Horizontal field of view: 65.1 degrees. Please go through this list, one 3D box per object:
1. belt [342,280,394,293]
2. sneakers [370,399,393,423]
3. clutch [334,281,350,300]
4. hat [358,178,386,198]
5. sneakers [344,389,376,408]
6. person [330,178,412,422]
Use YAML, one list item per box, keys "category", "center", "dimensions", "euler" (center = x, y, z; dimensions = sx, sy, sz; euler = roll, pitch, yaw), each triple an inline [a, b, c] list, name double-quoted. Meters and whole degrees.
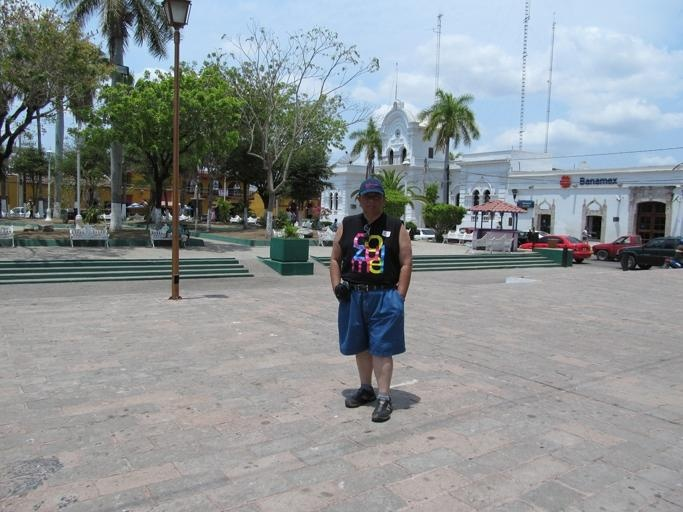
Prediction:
- category: "belt"
  center: [0.293, 0.297, 5.227]
  dimensions: [0.506, 0.088, 0.117]
  euler: [1, 6, 1]
- category: "sneakers"
  center: [0.419, 1.476, 5.171]
  dimensions: [0.297, 0.195, 0.158]
  euler: [-3, 7, -34]
- category: "clutch"
  center: [-0.004, 0.351, 5.240]
  dimensions: [0.134, 0.156, 0.173]
  euler: [-5, 4, -1]
- category: "hat"
  center: [0.303, -0.672, 5.294]
  dimensions: [0.172, 0.119, 0.233]
  euler: [1, -6, 4]
- category: "sneakers"
  center: [0.155, 1.450, 5.511]
  dimensions: [0.377, 0.169, 0.135]
  euler: [0, 0, -26]
- category: "person"
  center: [0.271, 0.401, 5.278]
  dimensions: [0.797, 2.305, 0.616]
  euler: [2, 6, 13]
